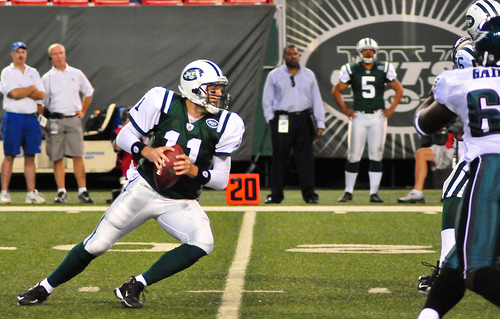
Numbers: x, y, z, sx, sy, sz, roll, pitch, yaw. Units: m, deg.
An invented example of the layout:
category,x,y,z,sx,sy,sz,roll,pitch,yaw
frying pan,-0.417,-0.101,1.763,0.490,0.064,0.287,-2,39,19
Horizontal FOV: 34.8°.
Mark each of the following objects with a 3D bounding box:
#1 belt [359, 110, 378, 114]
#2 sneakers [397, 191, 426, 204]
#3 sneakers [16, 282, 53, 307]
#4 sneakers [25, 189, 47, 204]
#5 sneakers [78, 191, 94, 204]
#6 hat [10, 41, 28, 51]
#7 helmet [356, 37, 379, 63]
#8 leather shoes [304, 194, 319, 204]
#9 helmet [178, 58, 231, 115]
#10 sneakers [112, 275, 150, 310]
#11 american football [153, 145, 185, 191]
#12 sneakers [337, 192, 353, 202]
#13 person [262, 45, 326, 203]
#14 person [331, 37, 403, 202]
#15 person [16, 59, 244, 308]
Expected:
category,x,y,z,sx,sy,sz,roll,pitch,yaw
belt,1.496,-0.607,10.140,0.208,0.046,0.023,2,10,6
sneakers,2.065,0.489,10.254,0.372,0.202,0.148,1,2,-2
sneakers,-1.782,1.124,6.580,0.215,0.099,0.163,-23,17,-13
sneakers,-2.676,0.482,10.117,0.329,0.234,0.132,2,4,-14
sneakers,-2.094,0.488,10.178,0.098,0.108,0.229,0,1,-44
hat,-2.858,-1.404,9.869,0.156,0.095,0.257,-2,11,-11
helmet,1.454,-1.385,10.116,0.249,0.326,0.317,0,-1,0
leather shoes,0.775,0.518,10.186,0.079,0.101,0.217,3,-12,-24
helmet,-0.346,-0.648,6.936,0.454,0.436,0.391,4,7,11
sneakers,-0.988,1.102,6.591,0.249,0.234,0.112,2,10,10
american football,-0.651,0.078,6.641,0.210,0.341,0.223,42,-9,30
sneakers,1.229,0.492,10.372,0.087,0.098,0.224,-1,-5,31
person,0.539,-0.436,10.123,0.777,1.993,0.454,1,10,1
person,1.484,-0.491,10.218,0.858,2.110,0.406,2,10,6
person,-0.817,0.188,6.714,1.517,1.977,0.649,0,10,-5
